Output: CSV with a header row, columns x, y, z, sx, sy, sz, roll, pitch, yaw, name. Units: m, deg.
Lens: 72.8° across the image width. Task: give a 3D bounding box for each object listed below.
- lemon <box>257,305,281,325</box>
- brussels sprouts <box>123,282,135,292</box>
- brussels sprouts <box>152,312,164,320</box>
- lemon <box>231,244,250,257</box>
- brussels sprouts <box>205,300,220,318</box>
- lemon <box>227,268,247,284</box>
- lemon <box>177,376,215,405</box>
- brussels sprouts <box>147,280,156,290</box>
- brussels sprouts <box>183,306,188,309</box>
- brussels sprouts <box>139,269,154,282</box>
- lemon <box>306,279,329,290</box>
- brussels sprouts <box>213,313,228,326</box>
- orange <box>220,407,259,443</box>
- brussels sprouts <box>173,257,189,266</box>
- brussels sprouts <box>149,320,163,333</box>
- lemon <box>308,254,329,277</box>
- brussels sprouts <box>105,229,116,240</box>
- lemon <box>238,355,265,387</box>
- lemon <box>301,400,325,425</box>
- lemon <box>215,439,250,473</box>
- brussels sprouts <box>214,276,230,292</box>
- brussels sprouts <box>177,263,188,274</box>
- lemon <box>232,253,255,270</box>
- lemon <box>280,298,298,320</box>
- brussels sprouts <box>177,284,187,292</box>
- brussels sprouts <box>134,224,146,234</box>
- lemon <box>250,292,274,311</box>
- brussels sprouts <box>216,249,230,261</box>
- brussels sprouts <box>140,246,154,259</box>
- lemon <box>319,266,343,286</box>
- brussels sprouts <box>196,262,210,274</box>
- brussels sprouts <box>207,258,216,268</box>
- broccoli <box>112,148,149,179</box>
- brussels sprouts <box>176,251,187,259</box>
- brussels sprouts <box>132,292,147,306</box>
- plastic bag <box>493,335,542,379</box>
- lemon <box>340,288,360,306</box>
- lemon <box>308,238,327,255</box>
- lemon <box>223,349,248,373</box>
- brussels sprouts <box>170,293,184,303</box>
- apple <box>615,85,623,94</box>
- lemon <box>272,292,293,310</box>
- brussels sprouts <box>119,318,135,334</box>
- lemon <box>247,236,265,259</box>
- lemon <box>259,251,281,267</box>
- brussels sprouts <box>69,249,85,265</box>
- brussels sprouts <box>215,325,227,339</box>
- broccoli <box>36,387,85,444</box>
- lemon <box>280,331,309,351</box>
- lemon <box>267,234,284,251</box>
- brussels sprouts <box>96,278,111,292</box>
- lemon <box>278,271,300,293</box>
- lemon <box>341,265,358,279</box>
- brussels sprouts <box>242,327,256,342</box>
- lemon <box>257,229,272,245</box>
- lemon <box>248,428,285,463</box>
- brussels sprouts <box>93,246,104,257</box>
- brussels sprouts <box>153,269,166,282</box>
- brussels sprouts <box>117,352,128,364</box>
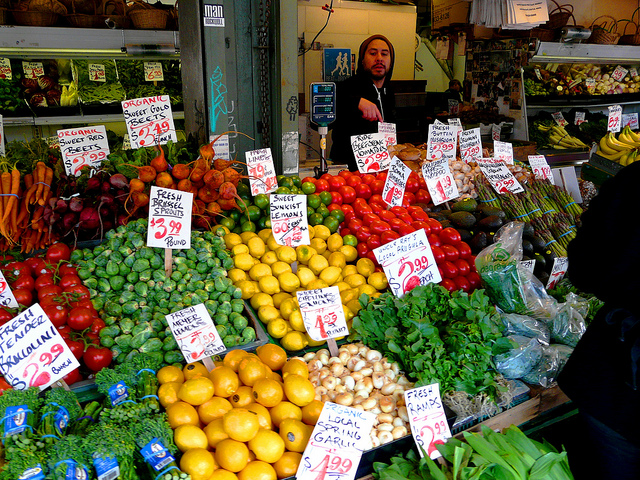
x,y,z,sx,sy,sz,roll,pitch,yaw,name
-0.306,0.452,2.725,0.104,0.127,0.117,-36,21,12,lemon
-1.144,0.282,2.600,0.055,0.033,0.046,21,27,-20,brussels sprouts
-0.937,0.435,2.487,0.033,0.025,0.042,1,3,-3,brussels sprouts
-0.539,0.050,2.947,0.082,0.081,0.098,-9,25,-22,lemon
-0.653,0.409,2.604,0.069,0.089,0.042,2,-10,-9,brussels sprouts
-0.538,0.225,2.824,0.103,0.085,0.090,7,1,10,lemon
-0.575,0.711,2.046,0.141,0.110,0.110,-11,-2,6,lemon
-1.017,0.273,2.619,0.049,0.050,0.026,-4,-3,-12,brussels sprouts
-0.781,0.391,2.513,0.028,0.027,0.028,1,0,-1,brussels sprouts
-1.052,0.209,2.627,0.047,0.033,0.074,46,51,5,brussels sprouts
-0.015,0.292,2.836,0.131,0.061,0.131,-1,34,3,lemon
-0.586,0.468,2.558,0.065,0.052,0.053,2,5,33,brussels sprouts
-0.340,0.833,1.946,0.166,0.129,0.130,-24,8,-15,orange
-0.871,0.132,2.711,0.066,0.042,0.047,3,-7,6,brussels sprouts
-0.920,0.483,2.444,0.059,0.061,0.034,2,34,28,brussels sprouts
-0.012,0.170,2.950,0.116,0.150,0.085,-10,-7,3,lemon
-1.311,-0.040,2.721,0.051,0.059,0.019,6,33,-23,brussels sprouts
-0.356,0.675,2.228,0.168,0.128,0.132,-30,56,23,lemon
-0.036,0.836,2.099,0.098,0.116,0.099,3,-7,-5,lemon
-0.394,0.945,1.892,0.159,0.107,0.097,1,34,6,lemon
-0.606,0.268,2.672,0.083,0.045,0.085,13,56,-23,brussels sprouts
-0.850,0.176,2.684,0.057,0.057,0.069,-37,7,-1,brussels sprouts
-0.509,0.144,2.888,0.124,0.095,0.094,19,38,-3,lemon
-0.196,0.419,2.702,0.112,0.111,0.113,-5,12,-7,lemon
-0.836,0.291,2.636,0.045,0.035,0.034,-16,49,-46,brussels sprouts
-1.145,-0.071,2.769,0.056,0.050,0.035,-21,33,8,brussels sprouts
-0.372,0.383,2.835,0.112,0.149,0.120,-5,8,3,lemon
-0.640,0.092,2.845,0.060,0.040,0.074,10,35,-4,brussels sprouts
-1.064,0.079,2.665,0.076,0.051,0.070,-13,36,-15,brussels sprouts
0.077,0.231,2.908,0.128,0.095,0.097,-29,37,-5,lemon
-0.741,0.174,2.740,0.055,0.040,0.074,22,48,0,brussels sprouts
-0.694,0.144,2.748,0.043,0.056,0.032,-7,-4,-10,brussels sprouts
-1.373,-0.575,3.139,0.252,0.077,0.265,20,41,22,broccoli
-0.878,0.097,2.748,0.043,0.024,0.034,13,14,-13,brussels sprouts
-1.072,0.357,2.600,0.095,0.037,0.046,46,40,-3,brussels sprouts
1.059,0.632,2.336,0.278,0.142,0.202,-25,18,-10,plastic bag
0.200,0.355,2.818,0.106,0.064,0.078,-40,58,-11,lemon
-0.012,0.040,3.141,0.101,0.097,0.115,28,45,37,lemon
-0.449,0.633,2.295,0.099,0.119,0.101,-19,21,19,lemon
-0.847,0.345,2.564,0.060,0.034,0.046,11,4,3,brussels sprouts
5.556,-2.805,8.009,0.152,0.110,0.137,0,34,4,apple
-0.240,0.386,2.835,0.099,0.118,0.102,2,10,26,lemon
-1.078,0.480,2.422,0.063,0.080,0.048,3,-19,-17,brussels sprouts
-0.453,0.042,3.061,0.107,0.106,0.142,-2,51,-20,lemon
-0.337,0.123,3.019,0.098,0.100,0.118,33,-7,13,lemon
-1.505,0.097,2.681,0.087,0.067,0.066,-22,33,-19,brussels sprouts
-0.572,0.534,2.497,0.053,0.054,0.072,-2,36,-9,brussels sprouts
-1.159,0.769,1.915,0.092,0.137,0.193,-38,15,13,broccoli
-0.151,0.596,2.608,0.129,0.100,0.100,2,16,3,lemon
-0.310,0.011,3.056,0.103,0.122,0.105,-1,13,-6,lemon
-1.287,0.269,2.576,0.060,0.077,0.027,-39,-5,-7,brussels sprouts
-0.195,0.275,2.892,0.132,0.101,0.101,39,10,32,lemon
0.210,0.224,3.044,0.088,0.087,0.108,2,69,-8,lemon
-0.420,0.559,2.559,0.066,0.056,0.069,-2,34,1,brussels sprouts
-0.391,-0.027,3.111,0.099,0.118,0.097,1,7,-2,lemon
-0.235,0.914,1.921,0.147,0.116,0.120,-6,64,-6,lemon
-1.364,0.066,2.675,0.048,0.016,0.062,16,40,6,brussels sprouts
-0.974,0.217,2.641,0.057,0.078,0.047,-9,-15,-35,brussels sprouts
-1.061,0.635,2.319,0.027,0.042,0.050,-4,53,41,brussels sprouts
